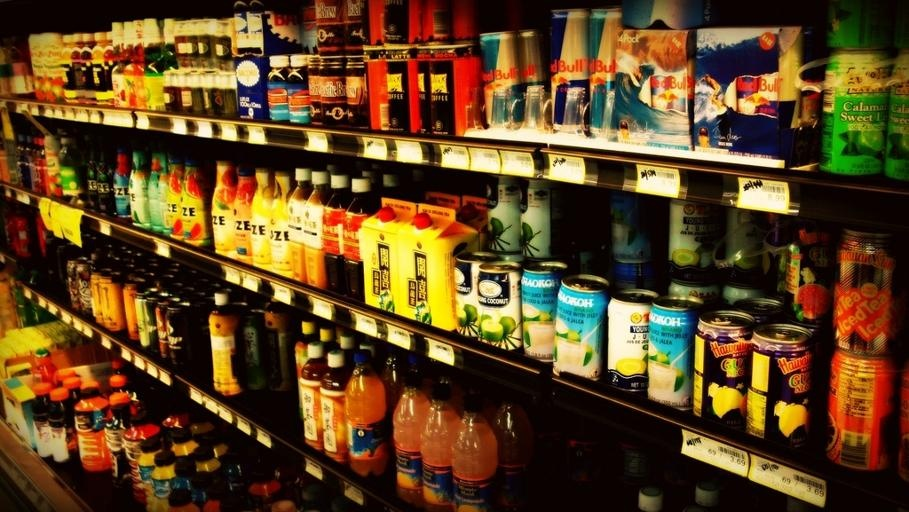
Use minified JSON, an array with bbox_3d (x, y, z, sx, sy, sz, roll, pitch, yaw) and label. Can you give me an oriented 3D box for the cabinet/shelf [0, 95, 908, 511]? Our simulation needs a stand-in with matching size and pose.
[{"bbox_3d":[-0.030,0.226,2.835,2.804,0.625,0.419,11,28,37],"label":"cabinet/shelf"}]
